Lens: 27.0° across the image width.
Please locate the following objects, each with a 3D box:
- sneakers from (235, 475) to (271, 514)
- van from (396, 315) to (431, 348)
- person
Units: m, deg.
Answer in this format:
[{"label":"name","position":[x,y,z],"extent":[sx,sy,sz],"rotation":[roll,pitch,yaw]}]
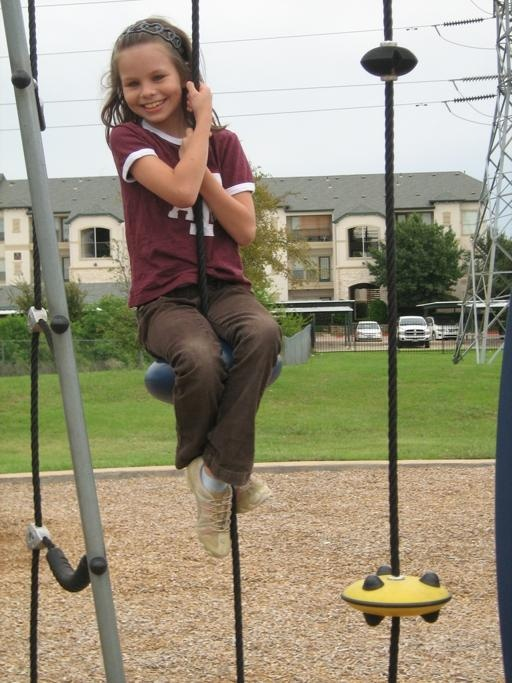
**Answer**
[{"label":"sneakers","position":[-0.011,0.432,3.057],"extent":[0.154,0.065,0.054],"rotation":[-24,26,52]},{"label":"van","position":[4.879,-0.220,32.900],"extent":[1.130,0.858,2.081],"rotation":[-1,-5,1]},{"label":"person","position":[-0.175,-0.152,2.992],"extent":[0.452,1.478,0.598],"rotation":[-2,7,-8]}]
